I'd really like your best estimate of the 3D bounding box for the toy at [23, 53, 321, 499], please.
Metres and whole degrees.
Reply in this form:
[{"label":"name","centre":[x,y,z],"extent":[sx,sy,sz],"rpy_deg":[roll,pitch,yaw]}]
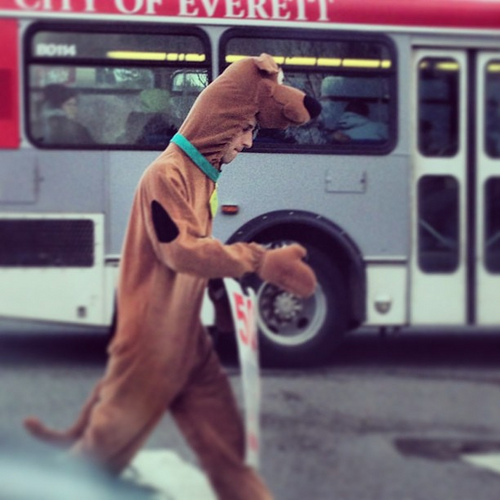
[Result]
[{"label":"toy","centre":[-0.261,0.114,3.445],"extent":[1.033,1.838,0.324],"rpy_deg":[-1,4,-15]}]
